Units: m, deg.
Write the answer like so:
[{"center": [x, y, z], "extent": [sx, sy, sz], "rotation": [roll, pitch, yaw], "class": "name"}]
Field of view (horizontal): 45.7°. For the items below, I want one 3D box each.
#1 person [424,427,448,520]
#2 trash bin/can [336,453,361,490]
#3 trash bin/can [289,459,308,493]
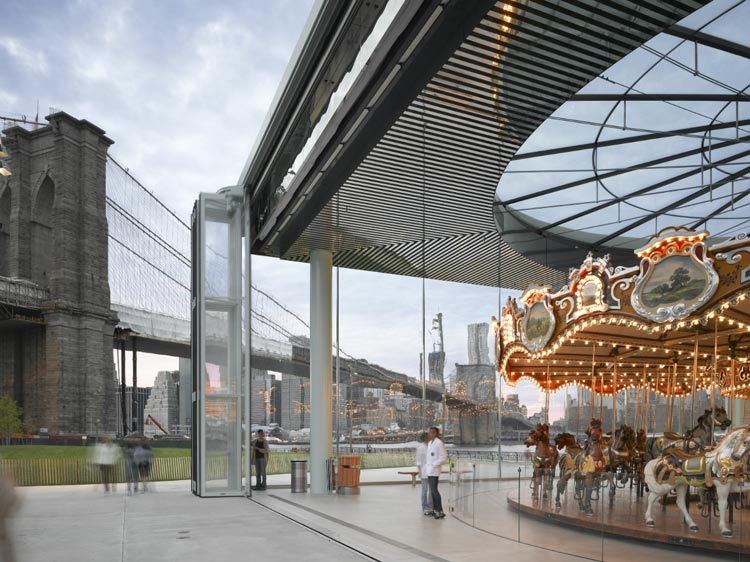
[{"center": [1.365, 4.342, 20.036], "extent": [0.451, 2.060, 0.862], "rotation": [-3, 4, 3], "class": "person"}, {"center": [-0.628, 5.313, 24.694], "extent": [0.739, 0.954, 0.806], "rotation": [-7, -13, 23], "class": "trash bin/can"}, {"center": [-2.101, 5.344, 24.345], "extent": [0.445, 0.860, 0.392], "rotation": [-4, 4, -13], "class": "trash bin/can"}]
